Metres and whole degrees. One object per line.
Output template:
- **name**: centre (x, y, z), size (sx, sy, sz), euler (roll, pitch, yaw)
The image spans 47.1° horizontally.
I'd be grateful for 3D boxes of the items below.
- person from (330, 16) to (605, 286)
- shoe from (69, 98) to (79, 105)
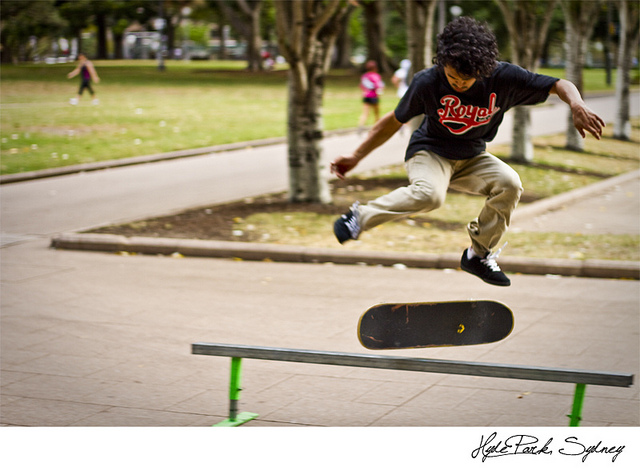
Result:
- **person**: centre (1.068, -0.573, 5.634), size (1.822, 2.145, 0.823), euler (3, 17, 12)
- **shoe**: centre (-2.496, -1.357, 7.415), size (0.077, 0.051, 0.088), euler (3, -16, 33)
